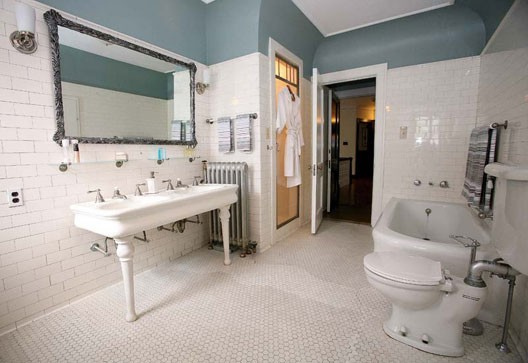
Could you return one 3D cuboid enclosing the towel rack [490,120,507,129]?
[{"bbox_3d":[2.381,-0.579,3.553,0.131,0.066,0.074,0,5,-21],"label":"towel rack"}]

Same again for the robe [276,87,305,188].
[{"bbox_3d":[0.392,-0.601,5.077,0.331,1.480,0.661,1,10,10],"label":"robe"}]

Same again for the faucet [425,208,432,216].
[{"bbox_3d":[2.117,0.393,4.454,0.079,0.095,0.081,-6,-11,-37],"label":"faucet"}]

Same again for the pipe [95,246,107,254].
[{"bbox_3d":[-1.704,0.727,3.671,0.132,0.078,0.077,6,11,38],"label":"pipe"}]

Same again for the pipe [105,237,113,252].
[{"bbox_3d":[-1.661,0.663,3.731,0.073,0.148,0.138,-3,9,-14],"label":"pipe"}]

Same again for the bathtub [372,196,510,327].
[{"bbox_3d":[1.874,0.730,4.000,1.077,0.672,1.718,8,13,26],"label":"bathtub"}]

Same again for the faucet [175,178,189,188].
[{"bbox_3d":[-0.986,0.018,4.219,0.128,0.112,0.277,-1,8,-1],"label":"faucet"}]

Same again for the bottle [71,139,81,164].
[{"bbox_3d":[-1.888,-0.298,3.504,0.078,0.249,0.132,-6,11,-28],"label":"bottle"}]

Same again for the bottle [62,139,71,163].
[{"bbox_3d":[-1.965,-0.303,3.456,0.078,0.228,0.101,-6,11,-29],"label":"bottle"}]

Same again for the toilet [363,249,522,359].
[{"bbox_3d":[1.581,1.055,3.283,1.264,0.875,0.796,6,9,34],"label":"toilet"}]

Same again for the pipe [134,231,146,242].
[{"bbox_3d":[-1.352,0.605,3.888,0.103,0.025,0.107,16,21,37],"label":"pipe"}]

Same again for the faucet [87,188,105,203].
[{"bbox_3d":[-1.723,0.149,3.515,0.124,0.155,0.171,4,2,29],"label":"faucet"}]

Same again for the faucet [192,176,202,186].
[{"bbox_3d":[-0.864,-0.003,4.391,0.129,0.117,0.093,-2,3,12],"label":"faucet"}]

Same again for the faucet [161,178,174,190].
[{"bbox_3d":[-1.134,0.044,4.101,0.166,0.164,0.114,-1,6,26],"label":"faucet"}]

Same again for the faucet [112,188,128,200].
[{"bbox_3d":[-1.523,0.137,3.656,0.175,0.105,0.085,3,5,20],"label":"faucet"}]

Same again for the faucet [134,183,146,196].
[{"bbox_3d":[-1.355,0.088,3.850,0.126,0.118,0.093,-2,9,-9],"label":"faucet"}]
